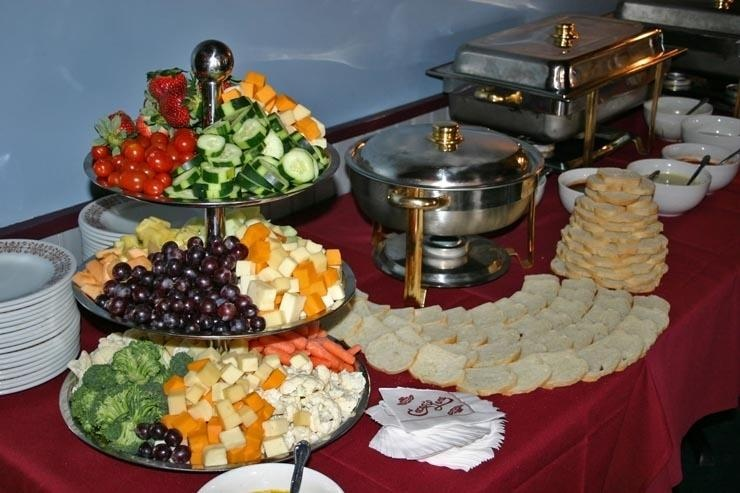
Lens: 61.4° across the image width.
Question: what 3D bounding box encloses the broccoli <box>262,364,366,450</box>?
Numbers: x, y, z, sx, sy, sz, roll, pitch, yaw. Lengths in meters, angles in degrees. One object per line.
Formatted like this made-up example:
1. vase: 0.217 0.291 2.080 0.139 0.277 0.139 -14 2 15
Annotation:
1. broccoli: -0.132 0.412 1.647 0.210 0.053 0.201 -20 44 -36

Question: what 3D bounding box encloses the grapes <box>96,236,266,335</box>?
1. grapes: -0.503 0.117 1.607 0.407 0.178 0.280 -12 30 -11

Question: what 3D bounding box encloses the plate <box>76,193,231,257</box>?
1. plate: -0.839 -0.103 2.128 0.303 0.111 0.303 12 24 25

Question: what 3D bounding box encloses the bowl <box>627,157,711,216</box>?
1. bowl: 1.289 -0.281 2.679 0.301 0.152 0.286 -3 27 1

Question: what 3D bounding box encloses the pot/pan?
1. pot/pan: 0.239 -0.212 2.242 0.652 0.456 0.724 3 30 8

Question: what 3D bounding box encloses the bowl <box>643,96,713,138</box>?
1. bowl: 1.610 -0.680 3.263 0.311 0.181 0.431 16 24 42
